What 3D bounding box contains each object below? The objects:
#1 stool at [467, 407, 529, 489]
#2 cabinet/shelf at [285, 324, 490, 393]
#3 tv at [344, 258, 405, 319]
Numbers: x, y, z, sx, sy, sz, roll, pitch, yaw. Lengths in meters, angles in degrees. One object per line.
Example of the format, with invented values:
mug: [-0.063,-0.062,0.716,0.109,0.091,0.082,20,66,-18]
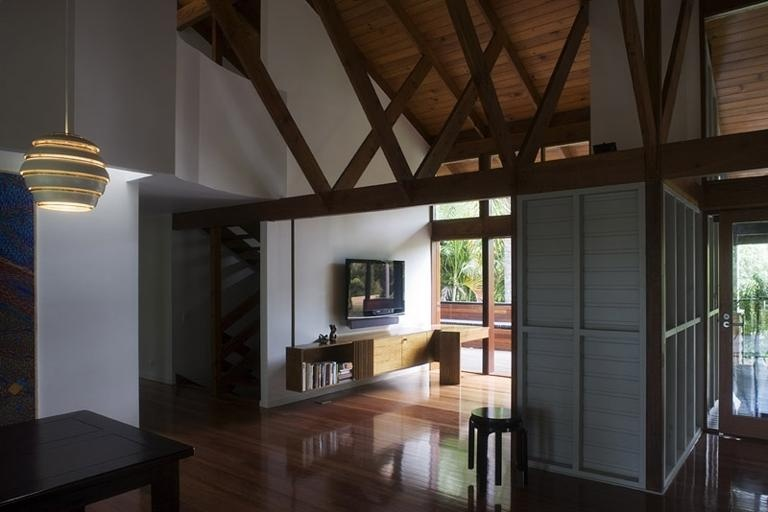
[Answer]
stool: [1.442,2.085,6.254,0.610,0.631,0.616,0,-10,-7]
cabinet/shelf: [0.110,1.701,9.436,3.725,1.010,1.028,-5,8,-37]
tv: [-0.102,0.582,9.665,1.428,0.968,0.036,-4,-6,43]
